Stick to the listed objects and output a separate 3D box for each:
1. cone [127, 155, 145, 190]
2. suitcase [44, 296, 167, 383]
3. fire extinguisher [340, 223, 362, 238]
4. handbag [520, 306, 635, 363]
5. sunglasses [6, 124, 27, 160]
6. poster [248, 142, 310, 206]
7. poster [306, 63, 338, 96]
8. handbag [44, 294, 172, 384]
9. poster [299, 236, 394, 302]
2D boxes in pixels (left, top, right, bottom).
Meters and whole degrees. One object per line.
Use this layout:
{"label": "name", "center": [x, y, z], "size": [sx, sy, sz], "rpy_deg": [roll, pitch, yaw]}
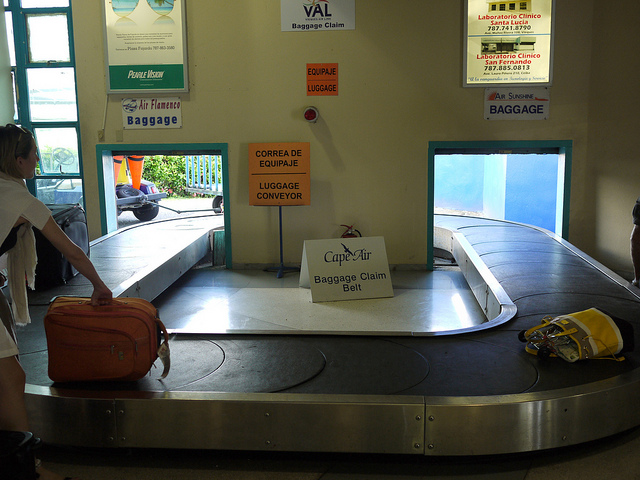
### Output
{"label": "cone", "center": [-3.931, -1.449, 11.357], "size": [0.303, 0.703, 0.731], "rpy_deg": [-6, 13, -19]}
{"label": "suitcase", "center": [-1.157, 0.518, 2.913], "size": [0.620, 0.394, 0.421], "rpy_deg": [2, 11, -2]}
{"label": "fire extinguisher", "center": [0.399, -0.092, 6.459], "size": [0.248, 0.283, 0.113], "rpy_deg": [1, 2, 15]}
{"label": "handbag", "center": [1.504, 0.544, 3.068], "size": [0.441, 0.167, 0.335], "rpy_deg": [-8, 18, -5]}
{"label": "sunglasses", "center": [-1.472, -0.484, 2.580], "size": [0.046, 0.140, 0.136], "rpy_deg": [1, 15, -44]}
{"label": "poster", "center": [-0.463, -0.789, 6.179], "size": [0.728, 0.701, 0.076], "rpy_deg": [0, 6, 3]}
{"label": "poster", "center": [0.033, -1.938, 6.320], "size": [0.385, 0.355, 0.037], "rpy_deg": [1, 14, 5]}
{"label": "handbag", "center": [-1.135, 0.523, 2.914], "size": [0.614, 0.405, 0.419], "rpy_deg": [2, 10, -2]}
{"label": "poster", "center": [0.288, 0.291, 5.345], "size": [0.864, 0.614, 0.201], "rpy_deg": [-4, 13, -13]}
